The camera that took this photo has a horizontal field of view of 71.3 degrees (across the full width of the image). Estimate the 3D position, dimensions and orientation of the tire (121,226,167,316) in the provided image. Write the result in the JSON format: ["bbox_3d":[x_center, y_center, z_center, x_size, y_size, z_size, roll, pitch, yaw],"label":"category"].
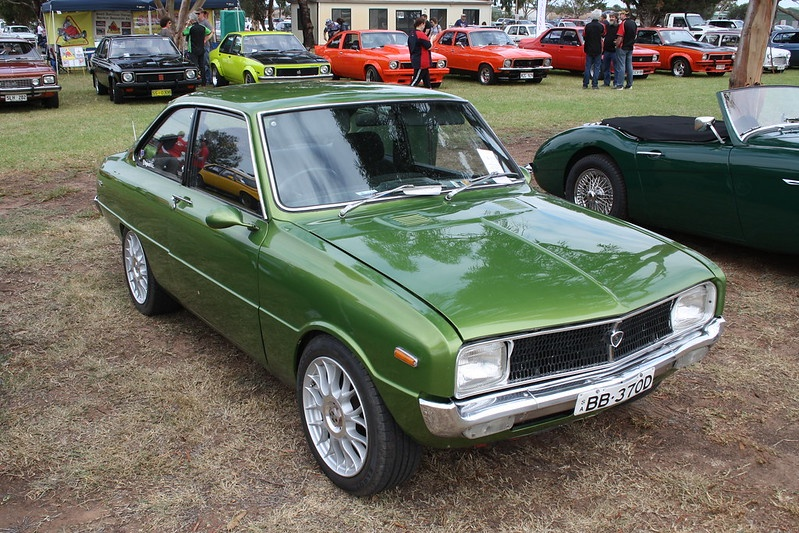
[{"bbox_3d":[-2.429,0.001,5.384,0.260,0.826,0.835,-10,4,-39],"label":"tire"}]

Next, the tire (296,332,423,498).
[{"bbox_3d":[-0.293,0.894,3.508,0.335,1.016,1.019,-8,8,-35],"label":"tire"}]

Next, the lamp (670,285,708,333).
[{"bbox_3d":[1.871,0.268,3.584,0.261,0.322,0.126,0,22,-38],"label":"lamp"}]

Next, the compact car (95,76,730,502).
[{"bbox_3d":[-0.542,-0.123,4.467,2.411,1.651,4.530,-17,32,-38],"label":"compact car"}]

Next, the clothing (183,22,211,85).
[{"bbox_3d":[-6.536,-6.897,17.874,0.769,2.024,0.542,-9,27,-35],"label":"clothing"}]

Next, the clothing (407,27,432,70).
[{"bbox_3d":[0.582,-6.471,16.615,0.621,1.071,0.541,3,24,9],"label":"clothing"}]

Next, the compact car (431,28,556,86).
[{"bbox_3d":[3.153,-7.891,21.342,2.215,1.420,4.571,-11,28,-27],"label":"compact car"}]

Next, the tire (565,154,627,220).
[{"bbox_3d":[2.515,-0.922,7.023,0.309,0.931,0.935,-13,11,-21],"label":"tire"}]
